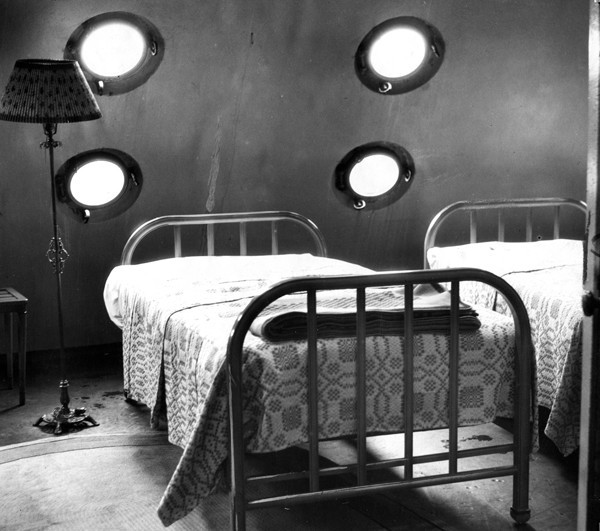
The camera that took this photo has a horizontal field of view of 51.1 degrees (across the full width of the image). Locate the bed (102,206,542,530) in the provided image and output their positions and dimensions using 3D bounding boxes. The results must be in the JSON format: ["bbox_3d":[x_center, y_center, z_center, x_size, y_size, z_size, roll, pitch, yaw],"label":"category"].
[{"bbox_3d":[-0.122,0.298,2.190,0.832,0.556,1.171,-5,12,-20],"label":"bed"}]

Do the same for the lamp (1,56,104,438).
[{"bbox_3d":[-1.106,-0.123,2.827,0.392,1.580,0.727,-4,8,-27],"label":"lamp"}]
